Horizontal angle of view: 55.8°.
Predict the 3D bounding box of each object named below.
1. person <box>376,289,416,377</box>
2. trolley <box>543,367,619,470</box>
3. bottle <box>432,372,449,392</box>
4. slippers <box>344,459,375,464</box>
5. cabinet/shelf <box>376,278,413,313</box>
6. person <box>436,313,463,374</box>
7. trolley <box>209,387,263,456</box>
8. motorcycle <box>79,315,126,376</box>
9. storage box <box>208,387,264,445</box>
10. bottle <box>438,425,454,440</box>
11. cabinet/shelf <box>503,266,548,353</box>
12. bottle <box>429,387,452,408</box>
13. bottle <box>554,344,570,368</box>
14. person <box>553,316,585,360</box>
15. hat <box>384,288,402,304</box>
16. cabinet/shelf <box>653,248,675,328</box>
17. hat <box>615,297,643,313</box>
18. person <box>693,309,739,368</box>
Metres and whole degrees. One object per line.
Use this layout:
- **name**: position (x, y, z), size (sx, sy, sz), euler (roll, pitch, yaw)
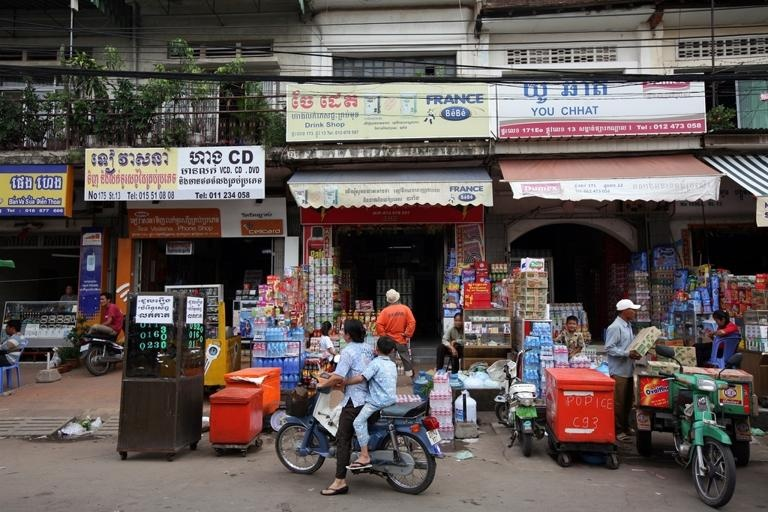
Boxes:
- **person**: position (0.287, 1.917, 17.567), size (0.917, 2.204, 0.673), euler (0, 17, 0)
- **trolley**: position (3.972, 2.980, 14.406), size (1.429, 1.927, 2.306), euler (0, -2, 4)
- **bottle**: position (1.157, 2.547, 14.490), size (0.294, 0.337, 0.493), euler (-1, 0, 7)
- **slippers**: position (-0.396, 3.702, 12.907), size (0.373, 0.092, 0.137), euler (3, -6, -7)
- **cabinet/shelf**: position (0.328, 1.214, 22.945), size (1.267, 1.248, 0.920), euler (-1, -6, 0)
- **person**: position (1.661, 2.098, 17.624), size (0.574, 1.414, 1.095), euler (0, -4, 10)
- **trolley**: position (-3.033, 3.085, 14.744), size (1.029, 1.441, 1.654), euler (0, -3, 4)
- **motorcycle**: position (-7.411, 2.465, 18.930), size (1.107, 1.258, 0.799), euler (1, -4, -13)
- **storage box**: position (-2.919, 3.155, 14.515), size (0.897, 1.037, 1.594), euler (1, -4, 2)
- **bottle**: position (1.264, 3.549, 14.469), size (0.261, 0.131, 0.263), euler (-3, 5, 0)
- **cabinet/shelf**: position (3.430, 1.368, 17.261), size (0.719, 1.989, 2.062), euler (-1, -2, 1)
- **bottle**: position (1.146, 2.837, 14.426), size (0.357, 0.137, 0.382), euler (-1, 5, 0)
- **bottle**: position (3.931, 2.244, 15.952), size (0.336, 0.542, 0.444), euler (0, -6, 0)
- **person**: position (4.154, 2.058, 16.351), size (0.755, 1.335, 0.432), euler (4, 18, 21)
- **hat**: position (0.212, 0.990, 17.289), size (0.266, 0.306, 0.421), euler (1, -4, -2)
- **cabinet/shelf**: position (7.814, 0.799, 20.057), size (0.633, 2.131, 0.444), euler (-1, -4, 21)
- **hat**: position (5.148, 1.003, 14.749), size (0.721, 0.300, 0.472), euler (-3, 1, -1)
- **person**: position (7.661, 1.885, 16.392), size (0.811, 1.237, 0.854), euler (-10, 2, -22)
